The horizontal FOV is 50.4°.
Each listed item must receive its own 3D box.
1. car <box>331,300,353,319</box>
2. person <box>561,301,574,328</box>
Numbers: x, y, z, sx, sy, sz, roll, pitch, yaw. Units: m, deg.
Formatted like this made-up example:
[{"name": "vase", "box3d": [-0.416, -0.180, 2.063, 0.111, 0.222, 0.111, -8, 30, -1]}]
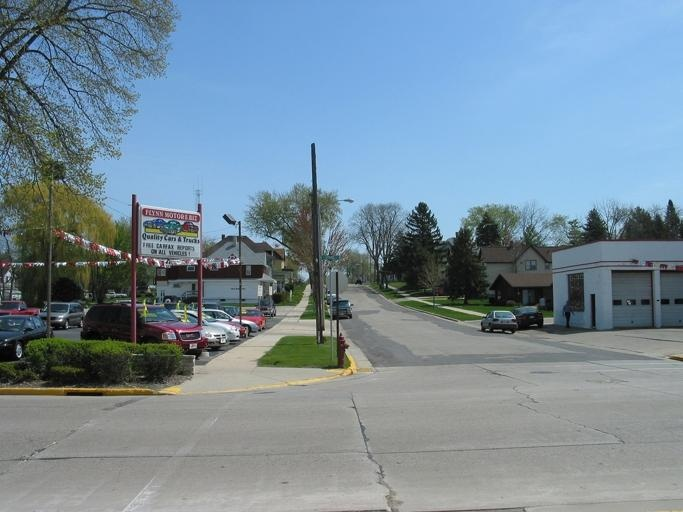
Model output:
[{"name": "car", "box3d": [0.103, 4.022, 55.196, 1.169, 1.183, 2.680, -2, -9, -4]}, {"name": "person", "box3d": [13.960, 3.604, 44.856, 0.440, 1.499, 2.014, 0, 1, 18]}]
